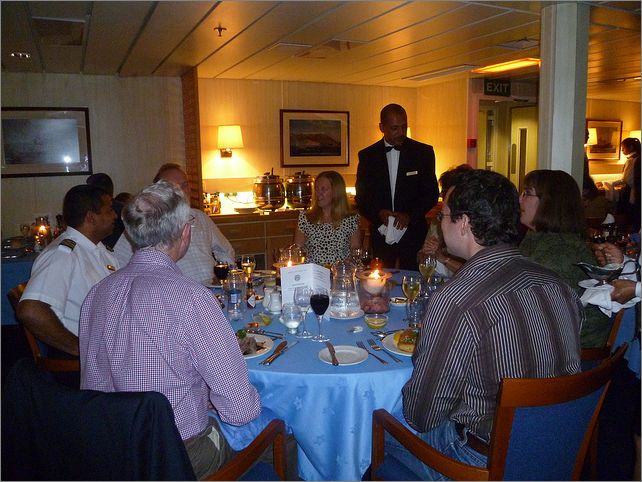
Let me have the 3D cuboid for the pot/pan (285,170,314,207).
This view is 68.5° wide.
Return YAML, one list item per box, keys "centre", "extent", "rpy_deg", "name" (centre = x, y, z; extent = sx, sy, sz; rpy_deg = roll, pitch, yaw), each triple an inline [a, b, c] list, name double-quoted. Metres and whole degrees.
- centre: [-0.256, -0.741, 6.467]
  extent: [0.441, 0.480, 0.453]
  rpy_deg: [2, 9, 7]
  name: "pot/pan"

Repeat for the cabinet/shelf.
- centre: [-0.721, -0.038, 4.886]
  extent: [0.613, 0.633, 0.232]
  rpy_deg: [-6, 10, -23]
  name: "cabinet/shelf"

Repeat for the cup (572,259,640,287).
- centre: [1.263, 0.145, 2.101]
  extent: [0.232, 0.111, 0.084]
  rpy_deg: [-4, 15, 5]
  name: "cup"

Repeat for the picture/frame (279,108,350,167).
- centre: [-0.148, -1.537, 6.848]
  extent: [0.814, 0.685, 0.044]
  rpy_deg: [-1, 9, -13]
  name: "picture/frame"

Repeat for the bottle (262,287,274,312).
- centre: [-0.271, 0.315, 2.540]
  extent: [0.084, 0.123, 0.095]
  rpy_deg: [1, -4, 8]
  name: "bottle"

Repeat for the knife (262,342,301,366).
- centre: [-0.186, 0.474, 2.014]
  extent: [0.041, 0.013, 0.262]
  rpy_deg: [9, 12, 17]
  name: "knife"

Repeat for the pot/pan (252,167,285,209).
- centre: [-0.684, -0.670, 6.112]
  extent: [0.413, 0.638, 0.433]
  rpy_deg: [0, 4, -2]
  name: "pot/pan"

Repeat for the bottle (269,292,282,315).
- centre: [-0.242, 0.325, 2.471]
  extent: [0.066, 0.098, 0.100]
  rpy_deg: [1, 2, 0]
  name: "bottle"

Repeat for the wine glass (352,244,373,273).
- centre: [0.263, 0.116, 3.005]
  extent: [0.115, 0.190, 0.118]
  rpy_deg: [1, 8, 8]
  name: "wine glass"

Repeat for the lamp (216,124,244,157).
- centre: [-1.210, -1.335, 6.250]
  extent: [0.306, 0.420, 0.339]
  rpy_deg: [-4, 7, -12]
  name: "lamp"

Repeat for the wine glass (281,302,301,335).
- centre: [-0.134, 0.369, 2.263]
  extent: [0.102, 0.136, 0.112]
  rpy_deg: [3, 9, 21]
  name: "wine glass"

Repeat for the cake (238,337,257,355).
- centre: [-0.314, 0.447, 2.023]
  extent: [0.062, 0.023, 0.060]
  rpy_deg: [-6, 22, -25]
  name: "cake"

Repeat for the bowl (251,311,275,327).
- centre: [-0.299, 0.388, 2.361]
  extent: [0.071, 0.041, 0.057]
  rpy_deg: [6, 8, 39]
  name: "bowl"
